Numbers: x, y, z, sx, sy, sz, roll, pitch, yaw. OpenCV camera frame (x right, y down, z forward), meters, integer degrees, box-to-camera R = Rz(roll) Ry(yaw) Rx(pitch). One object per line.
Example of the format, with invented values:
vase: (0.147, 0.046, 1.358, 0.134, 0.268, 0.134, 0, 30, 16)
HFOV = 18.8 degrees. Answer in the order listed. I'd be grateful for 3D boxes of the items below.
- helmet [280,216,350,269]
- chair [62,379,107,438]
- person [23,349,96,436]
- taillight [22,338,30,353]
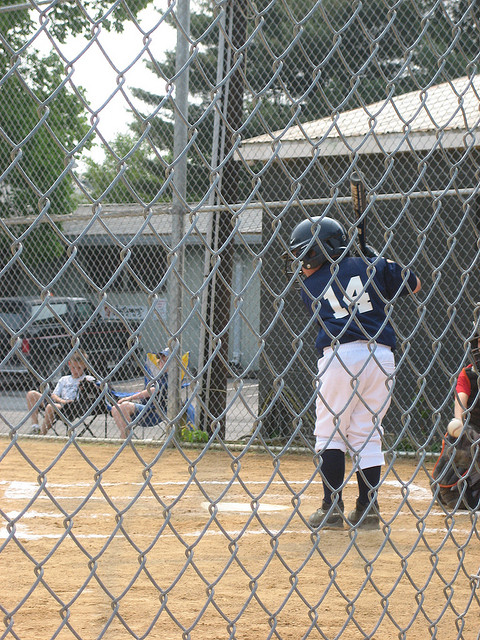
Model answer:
helmet: (0.404, -0.420, 8.090, 0.382, 0.325, 0.303, -13, -9, 7)
chair: (-1.366, 0.791, 12.211, 0.328, 0.519, 0.370, 17, 15, 35)
person: (-1.488, 0.635, 12.042, 0.490, 0.809, 0.443, 15, 0, -30)
taillight: (-2.388, 0.287, 16.160, 0.084, 0.156, 0.395, 15, 1, -8)
